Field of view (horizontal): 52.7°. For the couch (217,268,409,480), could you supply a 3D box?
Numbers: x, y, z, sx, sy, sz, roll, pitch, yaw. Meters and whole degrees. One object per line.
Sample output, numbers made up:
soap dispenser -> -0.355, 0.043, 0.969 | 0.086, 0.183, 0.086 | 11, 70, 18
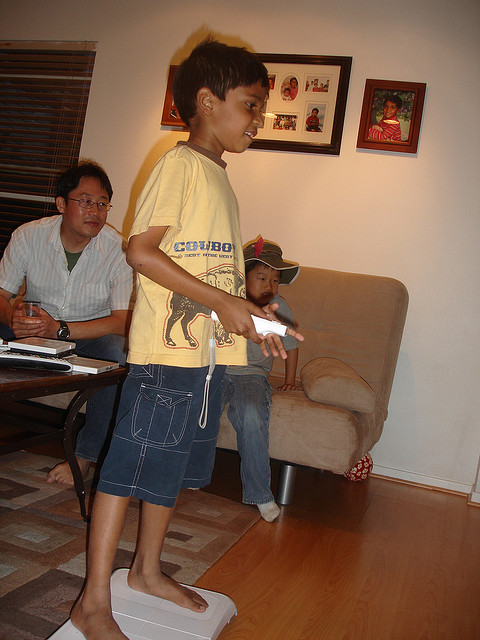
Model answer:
couch -> 0.240, 0.200, 2.018 | 0.745, 0.566, 0.749 | 11, 28, 40

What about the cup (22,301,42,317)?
cup -> -0.624, -0.035, 1.449 | 0.043, 0.049, 0.052 | 5, 0, -38

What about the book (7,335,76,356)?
book -> -0.521, 0.069, 1.283 | 0.170, 0.049, 0.117 | 9, -3, -26

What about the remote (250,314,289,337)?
remote -> 0.049, 0.009, 0.802 | 0.064, 0.030, 0.054 | 8, -2, 4

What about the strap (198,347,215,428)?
strap -> -0.059, 0.128, 0.911 | 0.031, 0.158, 0.025 | 4, -9, -1

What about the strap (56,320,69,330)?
strap -> -0.572, 0.012, 1.570 | 0.009, 0.033, 0.021 | -30, -9, 29

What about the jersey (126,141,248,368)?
jersey -> -0.072, -0.128, 0.886 | 0.244, 0.379, 0.222 | 9, -3, -6

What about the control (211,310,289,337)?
control -> 0.010, 0.005, 0.809 | 0.082, 0.024, 0.021 | 19, 22, -1
